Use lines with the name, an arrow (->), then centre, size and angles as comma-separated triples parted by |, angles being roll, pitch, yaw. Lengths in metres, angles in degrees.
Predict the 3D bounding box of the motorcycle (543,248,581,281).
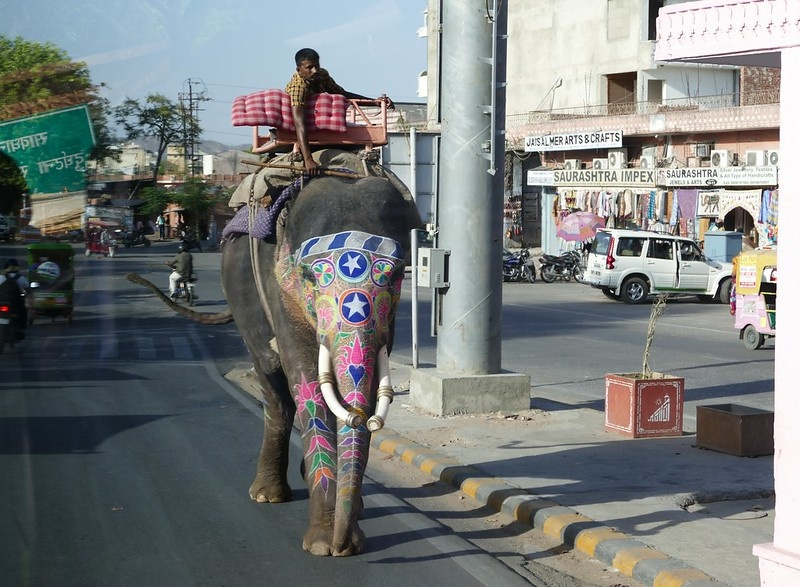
motorcycle -> 5.675, -0.914, 36.625 | 1.542, 0.831, 0.823 | -1, 5, -12

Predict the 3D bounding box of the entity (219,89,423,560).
entity -> -0.732, 0.436, 10.746 | 1.963, 3.748, 5.544 | 0, 2, -9

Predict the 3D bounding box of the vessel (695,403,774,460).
vessel -> 3.835, 1.393, 12.030 | 0.576, 0.490, 0.914 | -4, 5, -27

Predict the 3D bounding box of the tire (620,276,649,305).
tire -> 6.433, -0.098, 28.992 | 0.605, 0.584, 0.197 | -39, 14, -11

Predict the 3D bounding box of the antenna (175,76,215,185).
antenna -> -14.433, -11.502, 73.245 | 2.359, 5.721, 2.069 | -2, 0, -14

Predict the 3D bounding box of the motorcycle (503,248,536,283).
motorcycle -> 4.115, -0.864, 36.147 | 1.041, 1.016, 1.420 | 1, 9, 8

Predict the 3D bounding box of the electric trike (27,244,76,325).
electric trike -> -7.928, -0.302, 23.993 | 1.027, 1.215, 2.129 | 1, -2, -18

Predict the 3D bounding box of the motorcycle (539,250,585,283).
motorcycle -> 5.639, -0.889, 36.515 | 1.613, 0.868, 0.893 | -1, 5, -8

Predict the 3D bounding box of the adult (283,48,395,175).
adult -> -0.806, -1.693, 10.071 | 0.915, 1.097, 1.341 | -24, 11, -21

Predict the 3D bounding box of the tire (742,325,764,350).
tire -> 6.624, 0.814, 19.752 | 0.172, 0.460, 0.496 | 3, -4, -26

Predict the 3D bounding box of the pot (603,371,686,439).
pot -> 2.990, 1.340, 12.949 | 0.859, 0.729, 0.814 | 0, 4, 0

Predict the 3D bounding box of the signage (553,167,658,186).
signage -> 8.224, -4.575, 41.454 | 0.779, 0.689, 5.781 | 6, 1, -38

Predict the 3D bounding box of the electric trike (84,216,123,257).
electric trike -> -15.431, -2.968, 53.546 | 1.527, 2.048, 3.691 | 15, -5, -8

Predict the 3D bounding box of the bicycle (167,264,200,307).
bicycle -> -5.611, -0.213, 28.441 | 0.931, 0.933, 1.582 | -3, 7, -40

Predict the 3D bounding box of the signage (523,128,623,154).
signage -> 7.419, -6.371, 44.297 | 0.769, 0.845, 5.602 | -6, 10, -32

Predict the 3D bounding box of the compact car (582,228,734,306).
compact car -> 6.970, -0.666, 29.748 | 4.820, 1.932, 2.444 | -1, 6, -16

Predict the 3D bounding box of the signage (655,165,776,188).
signage -> 11.009, -3.963, 35.996 | 0.334, 0.796, 5.077 | -5, 10, -26
